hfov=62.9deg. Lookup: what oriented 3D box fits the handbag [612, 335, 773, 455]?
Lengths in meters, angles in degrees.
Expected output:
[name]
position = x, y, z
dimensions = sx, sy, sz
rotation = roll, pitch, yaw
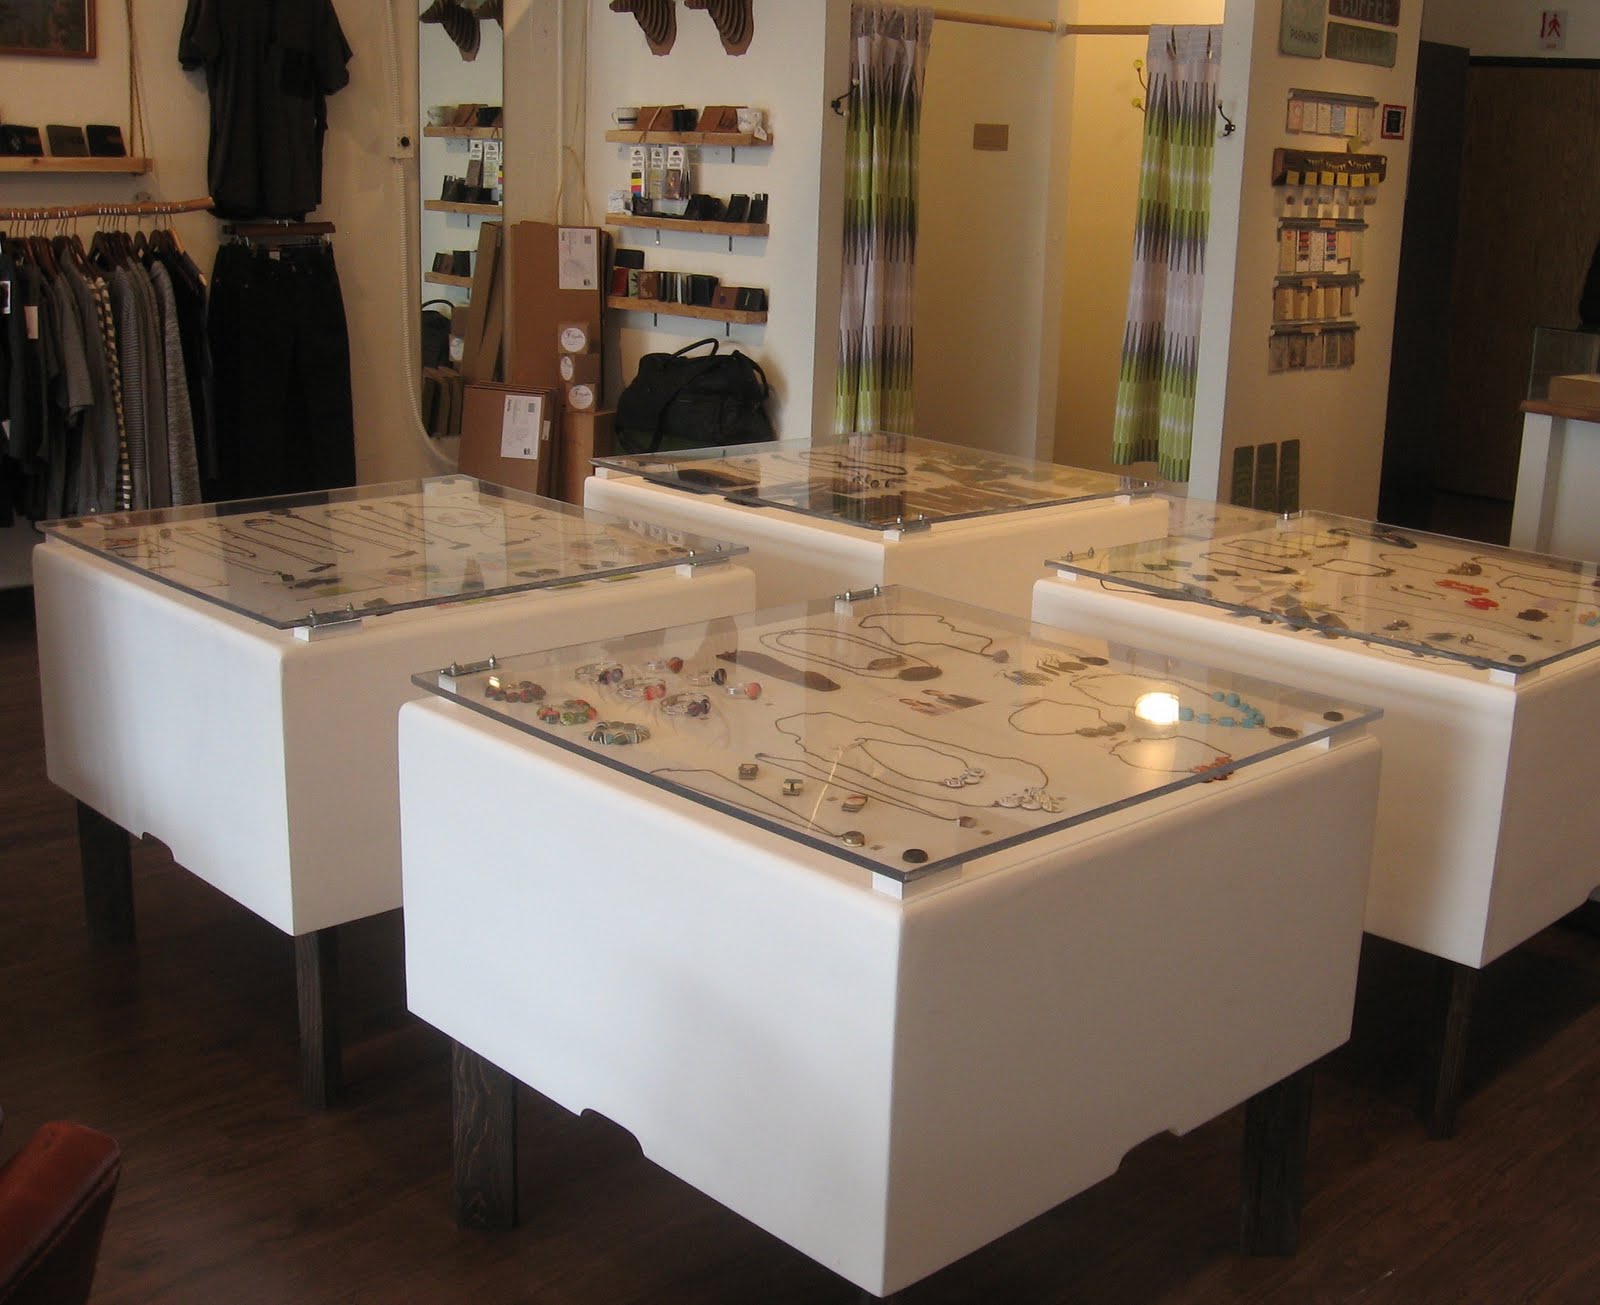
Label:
[handbag]
position = -0.448, -1.114, 5.706
dimensions = 0.687, 0.632, 0.381
rotation = 8, 15, 24
